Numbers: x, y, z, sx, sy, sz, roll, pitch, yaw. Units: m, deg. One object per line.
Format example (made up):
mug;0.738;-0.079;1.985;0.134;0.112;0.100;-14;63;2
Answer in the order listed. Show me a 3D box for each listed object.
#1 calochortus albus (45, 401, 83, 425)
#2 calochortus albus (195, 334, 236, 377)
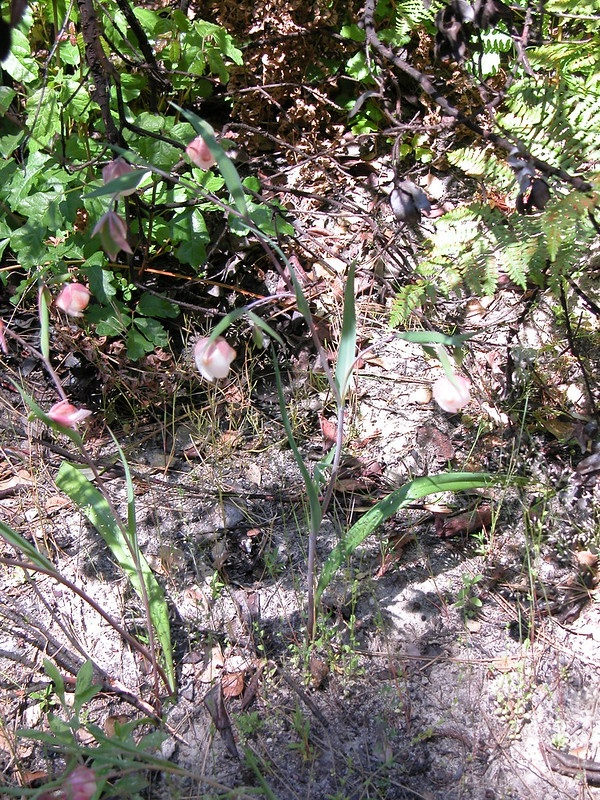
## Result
calochortus albus;-0.461;0.027;1.388;0.074;0.032;0.051;3;55;-33
calochortus albus;-0.162;-0.082;1.296;0.077;0.063;0.080;-3;1;3
